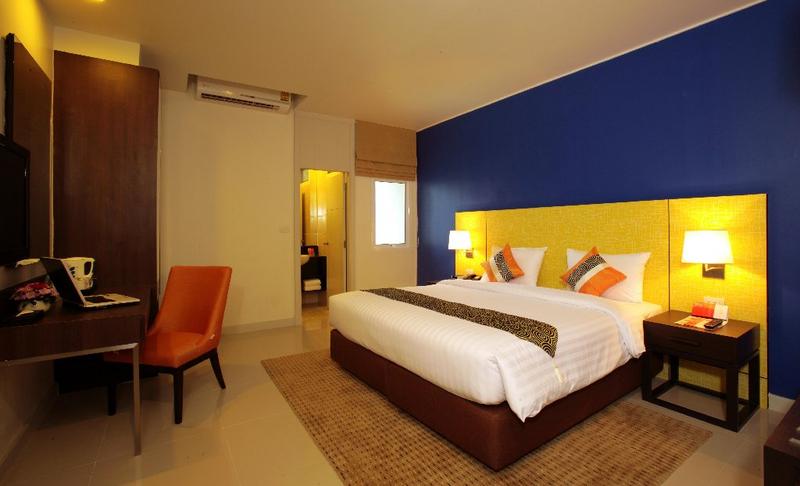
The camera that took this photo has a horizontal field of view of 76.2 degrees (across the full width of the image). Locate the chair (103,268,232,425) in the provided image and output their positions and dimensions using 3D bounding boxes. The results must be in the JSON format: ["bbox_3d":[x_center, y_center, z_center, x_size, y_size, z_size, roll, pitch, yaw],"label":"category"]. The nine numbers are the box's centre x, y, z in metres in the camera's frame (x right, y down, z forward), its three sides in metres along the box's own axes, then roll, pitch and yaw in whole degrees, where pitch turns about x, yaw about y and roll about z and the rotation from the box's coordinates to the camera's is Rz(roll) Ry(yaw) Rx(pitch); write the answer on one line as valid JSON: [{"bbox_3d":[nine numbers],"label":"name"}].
[{"bbox_3d":[-2.374,0.971,5.303,0.920,1.282,1.196,1,5,8],"label":"chair"}]

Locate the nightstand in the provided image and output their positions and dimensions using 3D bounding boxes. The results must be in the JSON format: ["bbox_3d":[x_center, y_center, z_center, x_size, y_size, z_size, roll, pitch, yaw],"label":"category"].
[{"bbox_3d":[3.101,1.272,5.303,0.708,0.865,0.937,-6,7,-40],"label":"nightstand"}]

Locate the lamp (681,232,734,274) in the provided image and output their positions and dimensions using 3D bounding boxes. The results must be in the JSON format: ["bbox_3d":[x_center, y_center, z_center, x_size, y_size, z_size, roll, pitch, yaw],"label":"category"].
[{"bbox_3d":[3.182,0.078,5.359,0.436,0.481,0.472,-9,8,-1],"label":"lamp"}]

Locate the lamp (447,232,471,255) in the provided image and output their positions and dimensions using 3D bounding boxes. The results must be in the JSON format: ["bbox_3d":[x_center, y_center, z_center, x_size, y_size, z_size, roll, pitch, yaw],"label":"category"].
[{"bbox_3d":[0.867,-0.011,7.523,0.290,0.224,0.293,-2,2,14],"label":"lamp"}]

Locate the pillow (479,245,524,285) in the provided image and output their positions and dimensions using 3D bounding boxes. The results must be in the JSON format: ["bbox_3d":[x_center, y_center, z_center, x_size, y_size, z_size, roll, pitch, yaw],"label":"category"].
[{"bbox_3d":[1.305,0.330,6.765,0.562,0.157,0.612,-14,45,20],"label":"pillow"}]

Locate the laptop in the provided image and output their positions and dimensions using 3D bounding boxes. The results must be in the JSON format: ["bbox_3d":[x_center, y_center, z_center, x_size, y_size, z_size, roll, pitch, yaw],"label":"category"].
[{"bbox_3d":[-2.929,0.432,4.749,0.598,0.383,0.618,1,1,-38],"label":"laptop"}]

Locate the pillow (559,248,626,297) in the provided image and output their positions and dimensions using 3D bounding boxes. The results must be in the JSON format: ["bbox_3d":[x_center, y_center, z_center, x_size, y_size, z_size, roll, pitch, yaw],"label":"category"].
[{"bbox_3d":[2.230,0.396,5.904,0.562,0.173,0.565,-32,35,3],"label":"pillow"}]

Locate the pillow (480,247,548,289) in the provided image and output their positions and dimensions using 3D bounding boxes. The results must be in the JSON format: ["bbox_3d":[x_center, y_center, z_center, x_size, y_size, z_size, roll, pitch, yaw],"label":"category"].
[{"bbox_3d":[1.473,0.362,6.761,0.698,0.224,0.745,9,26,13],"label":"pillow"}]
